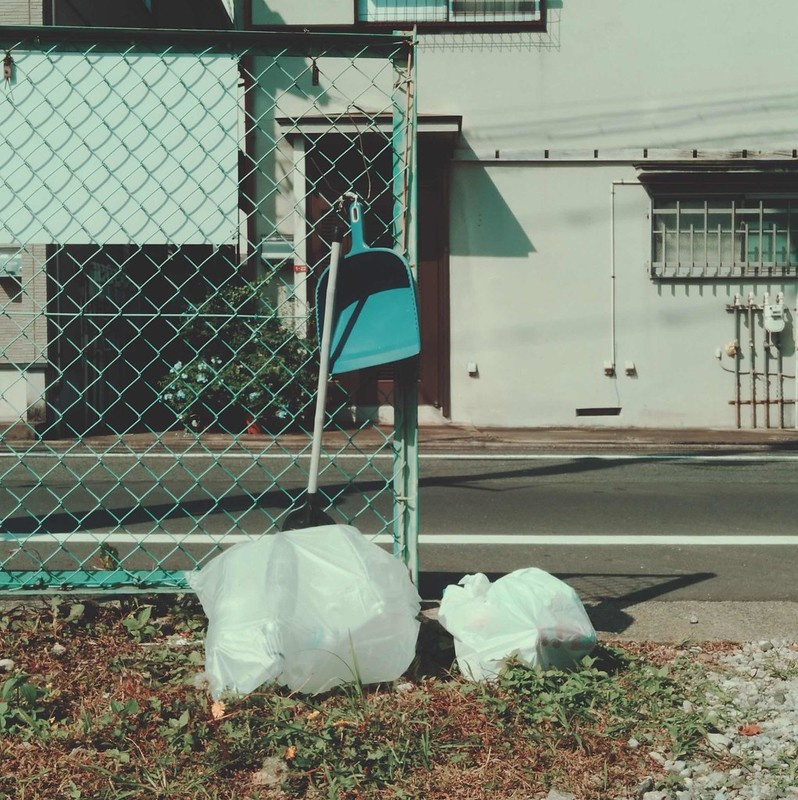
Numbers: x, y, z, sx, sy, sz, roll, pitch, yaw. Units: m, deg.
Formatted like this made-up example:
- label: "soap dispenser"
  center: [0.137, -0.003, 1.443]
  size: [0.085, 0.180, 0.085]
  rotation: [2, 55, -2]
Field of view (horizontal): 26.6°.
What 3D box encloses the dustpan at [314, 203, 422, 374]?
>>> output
- label: "dustpan"
  center: [-0.154, -0.571, 9.384]
  size: [0.554, 0.959, 0.196]
  rotation: [-7, -1, 17]
